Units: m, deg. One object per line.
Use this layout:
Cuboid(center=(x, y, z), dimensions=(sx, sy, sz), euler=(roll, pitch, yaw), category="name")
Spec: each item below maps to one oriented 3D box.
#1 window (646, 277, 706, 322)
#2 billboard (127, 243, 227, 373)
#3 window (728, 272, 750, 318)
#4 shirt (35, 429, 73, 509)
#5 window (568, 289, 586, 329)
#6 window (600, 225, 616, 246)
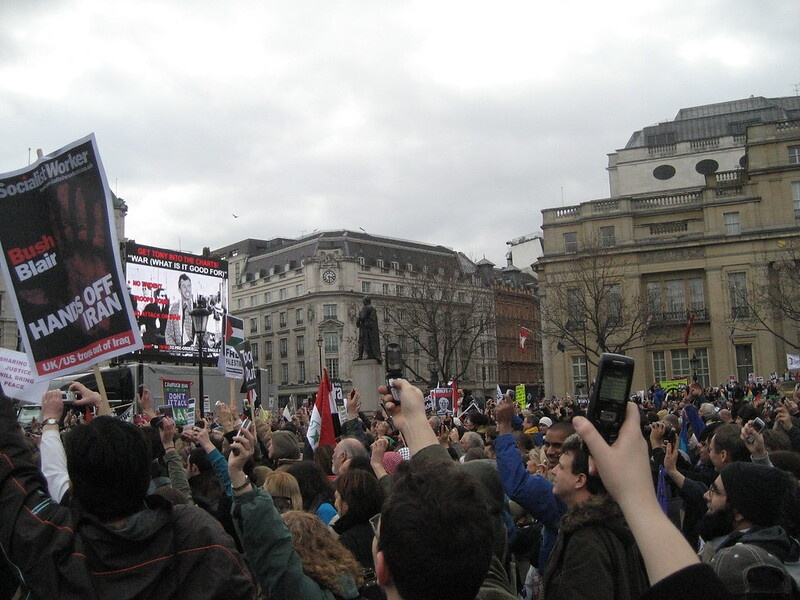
Cuboid(center=(18.785, 0.028, 48.705), dimensions=(2.717, 2.378, 0.243), euler=(-3, -10, 16), category="window")
Cuboid(center=(-12.587, 0.495, 40.245), dimensions=(0.702, 6.809, 7.079), euler=(-11, -13, 33), category="billboard")
Cuboid(center=(21.837, -0.323, 46.507), dimensions=(1.295, 3.448, 0.282), euler=(-6, -26, 30), category="window")
Cuboid(center=(-2.196, 1.015, 4.603), dimensions=(0.174, 0.523, 0.133), euler=(-25, -15, 20), category="shirt")
Cuboid(center=(11.371, 0.465, 46.394), dimensions=(1.234, 3.016, 0.251), euler=(0, -22, 10), category="window")
Cuboid(center=(14.540, -4.473, 50.415), dimensions=(1.467, 1.871, 0.189), euler=(-2, -2, 24), category="window")
